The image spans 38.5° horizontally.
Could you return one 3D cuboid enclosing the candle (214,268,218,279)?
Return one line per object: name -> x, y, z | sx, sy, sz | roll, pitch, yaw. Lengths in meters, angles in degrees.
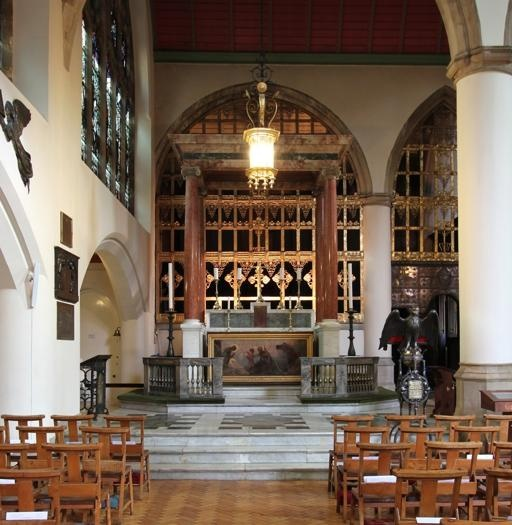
candle -> -0.975, 0.284, 17.693 | 0.079, 0.355, 0.495 | -4, 9, -7
